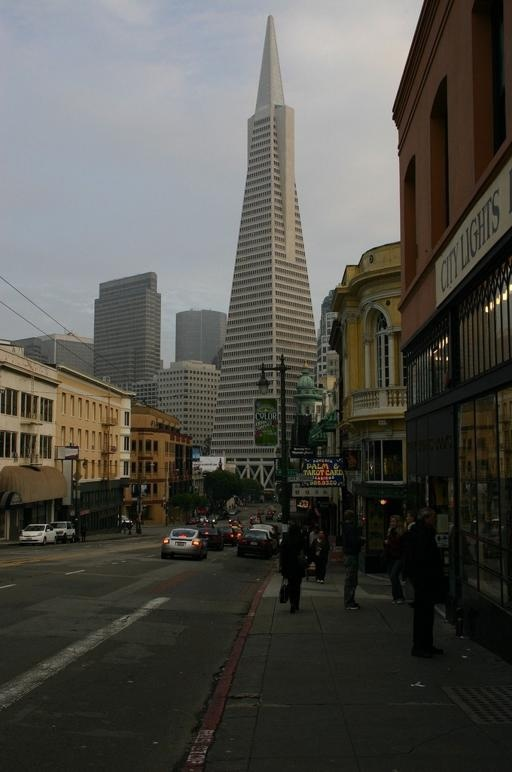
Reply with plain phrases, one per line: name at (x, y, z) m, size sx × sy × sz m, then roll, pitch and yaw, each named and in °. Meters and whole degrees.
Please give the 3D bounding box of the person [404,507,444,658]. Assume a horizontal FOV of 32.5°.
person at (1.906, 2.285, 9.909) m, size 0.395 × 1.502 × 0.353 m, roll -1°, pitch -8°, yaw 9°

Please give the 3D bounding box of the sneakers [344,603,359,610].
sneakers at (1.604, 3.678, 14.710) m, size 0.246 × 0.139 × 0.089 m, roll 2°, pitch -1°, yaw -22°

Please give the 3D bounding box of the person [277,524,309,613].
person at (0.611, 2.984, 14.380) m, size 0.395 × 1.419 × 0.886 m, roll -1°, pitch -8°, yaw 3°

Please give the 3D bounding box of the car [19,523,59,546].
car at (-11.332, 7.696, 45.496) m, size 1.015 × 1.033 × 2.817 m, roll -1°, pitch -10°, yaw 5°
